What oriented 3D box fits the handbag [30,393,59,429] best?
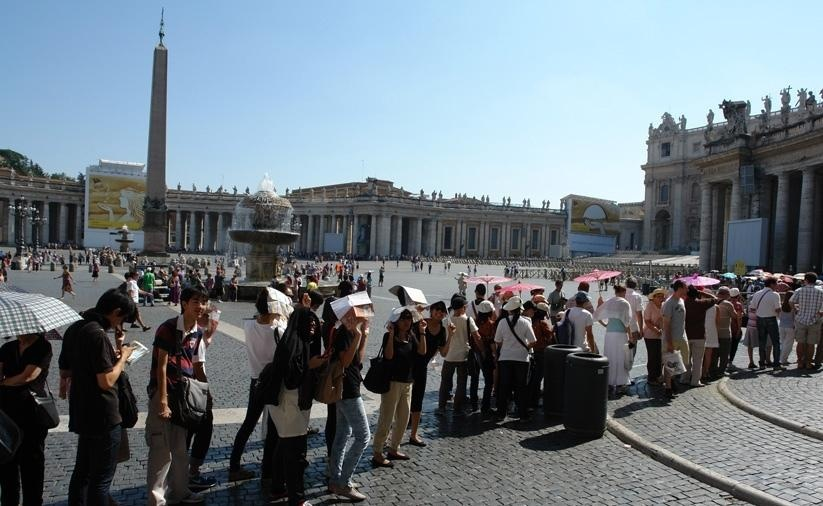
[{"bbox_3d":[-5.427,2.306,10.810,0.341,0.532,0.163,0,0,-5],"label":"handbag"}]

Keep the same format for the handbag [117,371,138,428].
[{"bbox_3d":[-4.214,2.165,10.814,0.254,0.861,0.346,0,0,-17],"label":"handbag"}]

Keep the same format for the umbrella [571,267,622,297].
[{"bbox_3d":[8.159,1.274,32.201,1.497,1.225,1.455,-6,22,18],"label":"umbrella"}]

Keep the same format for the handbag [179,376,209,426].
[{"bbox_3d":[-3.282,2.209,11.038,0.439,0.729,0.136,0,1,-42],"label":"handbag"}]

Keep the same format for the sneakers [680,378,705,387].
[{"bbox_3d":[5.947,2.717,15.495,0.432,0.161,0.276,0,1,18],"label":"sneakers"}]

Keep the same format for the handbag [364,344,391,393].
[{"bbox_3d":[-0.593,1.962,12.051,0.421,0.749,0.376,0,0,-4],"label":"handbag"}]

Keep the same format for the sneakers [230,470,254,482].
[{"bbox_3d":[-2.745,3.519,11.744,0.391,0.220,0.139,-3,9,-21],"label":"sneakers"}]

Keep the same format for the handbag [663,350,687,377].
[{"bbox_3d":[5.221,2.151,14.550,0.587,0.548,0.264,-8,-2,4],"label":"handbag"}]
